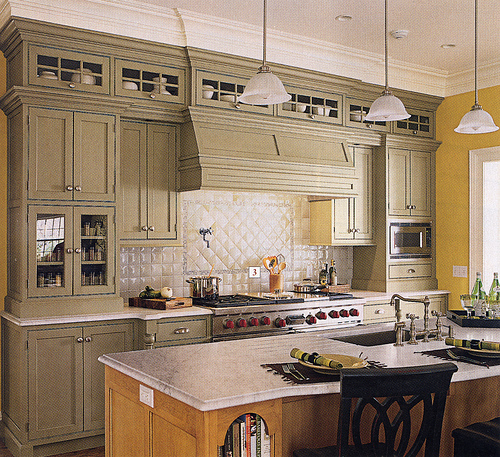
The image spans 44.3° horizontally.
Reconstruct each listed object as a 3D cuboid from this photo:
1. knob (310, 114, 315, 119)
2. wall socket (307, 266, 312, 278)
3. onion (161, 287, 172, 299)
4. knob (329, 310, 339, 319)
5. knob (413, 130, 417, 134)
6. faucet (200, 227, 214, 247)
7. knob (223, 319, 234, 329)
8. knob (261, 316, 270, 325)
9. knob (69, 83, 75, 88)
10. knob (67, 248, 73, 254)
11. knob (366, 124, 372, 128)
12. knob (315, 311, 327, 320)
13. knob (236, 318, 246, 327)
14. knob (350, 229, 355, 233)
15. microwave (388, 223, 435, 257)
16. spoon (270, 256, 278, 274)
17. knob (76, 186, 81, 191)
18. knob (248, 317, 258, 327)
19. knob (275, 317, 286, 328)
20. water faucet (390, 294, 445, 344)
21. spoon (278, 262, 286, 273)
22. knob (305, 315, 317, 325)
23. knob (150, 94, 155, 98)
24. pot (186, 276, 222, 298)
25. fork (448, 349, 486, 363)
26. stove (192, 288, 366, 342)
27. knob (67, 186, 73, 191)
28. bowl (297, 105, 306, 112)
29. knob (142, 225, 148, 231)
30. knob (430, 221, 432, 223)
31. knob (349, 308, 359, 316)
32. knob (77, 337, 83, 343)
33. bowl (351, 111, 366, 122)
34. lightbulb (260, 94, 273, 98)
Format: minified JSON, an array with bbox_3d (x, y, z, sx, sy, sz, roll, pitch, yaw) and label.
[{"bbox_3d":[0.583,-1.038,5.705,0.049,0.044,0.026,8,-14,-36],"label":"knob"},{"bbox_3d":[0.611,0.451,6.315,0.059,0.117,0.019,-1,-3,-43],"label":"wall socket"},{"bbox_3d":[-0.672,0.528,5.043,0.087,0.083,0.084,5,8,41],"label":"onion"},{"bbox_3d":[0.749,0.767,5.458,0.069,0.061,0.054,-33,-17,23],"label":"knob"},{"bbox_3d":[1.734,-1.015,6.486,0.015,0.045,0.047,-4,-8,43],"label":"knob"},{"bbox_3d":[-0.393,0.083,5.608,0.042,0.176,0.125,-4,-3,38],"label":"faucet"},{"bbox_3d":[-0.166,0.751,4.892,0.098,0.090,0.052,2,-3,-33],"label":"knob"},{"bbox_3d":[0.130,0.766,5.059,0.065,0.055,0.058,1,-2,-41],"label":"knob"},{"bbox_3d":[-1.320,-1.067,4.588,0.038,0.036,0.012,0,-3,-42],"label":"knob"},{"bbox_3d":[-1.318,0.165,4.524,0.029,0.028,0.029,1,2,32],"label":"knob"},{"bbox_3d":[1.192,-1.024,6.156,0.052,0.045,0.012,2,2,-22],"label":"knob"},{"bbox_3d":[0.627,0.770,5.401,0.060,0.065,0.083,-2,2,-41],"label":"knob"},{"bbox_3d":[-0.063,0.762,4.979,0.093,0.085,0.052,1,-2,-38],"label":"knob"},{"bbox_3d":[1.028,0.027,6.149,0.066,0.034,0.016,-1,-3,-34],"label":"knob"},{"bbox_3d":[1.818,0.118,6.543,0.361,0.369,0.611,-1,1,-37],"label":"microwave"},{"bbox_3d":[0.234,0.366,5.963,0.053,0.152,0.024,-1,-15,2],"label":"spoon"},{"bbox_3d":[-1.259,-0.294,4.538,0.008,0.026,0.027,0,-4,43],"label":"knob"},{"bbox_3d":[0.030,0.763,4.990,0.067,0.063,0.067,0,-2,16],"label":"knob"},{"bbox_3d":[0.268,0.796,5.173,0.053,0.093,0.123,-4,-3,35],"label":"knob"},{"bbox_3d":[0.997,0.526,3.771,0.362,0.289,0.247,0,2,-34],"label":"water faucet"},{"bbox_3d":[0.304,0.379,5.929,0.071,0.089,0.088,20,-33,-22],"label":"spoon"},{"bbox_3d":[0.521,0.795,5.313,0.092,0.087,0.034,1,2,-1],"label":"knob"},{"bbox_3d":[-0.785,-1.072,4.967,0.036,0.034,0.011,-7,5,-18],"label":"knob"},{"bbox_3d":[-0.385,0.471,5.338,0.279,0.131,0.183,1,-3,-24],"label":"pot"},{"bbox_3d":[1.128,0.684,3.261,0.082,0.034,0.259,-1,-3,-26],"label":"fork"},{"bbox_3d":[0.266,0.748,5.405,1.563,0.335,0.492,-1,-3,-31],"label":"stove"},{"bbox_3d":[-1.316,-0.294,4.510,0.037,0.035,0.009,1,0,-27],"label":"knob"},{"bbox_3d":[0.483,-1.112,5.712,0.108,0.067,0.033,-1,-3,-27],"label":"bowl"},{"bbox_3d":[-0.849,-0.001,4.983,0.041,0.039,0.012,4,-5,-30],"label":"knob"},{"bbox_3d":[1.949,-0.065,6.632,0.021,0.037,0.021,3,-4,-43],"label":"knob"},{"bbox_3d":[0.954,0.772,5.607,0.056,0.051,0.071,-1,2,-25],"label":"knob"},{"bbox_3d":[-1.226,0.809,4.439,0.041,0.039,0.012,4,-8,-35],"label":"knob"},{"bbox_3d":[1.066,-1.115,6.039,0.146,0.099,0.319,-3,-3,10],"label":"bowl"},{"bbox_3d":[0.100,-0.779,3.614,0.065,0.015,0.038,-3,-2,5],"label":"lightbulb"}]
